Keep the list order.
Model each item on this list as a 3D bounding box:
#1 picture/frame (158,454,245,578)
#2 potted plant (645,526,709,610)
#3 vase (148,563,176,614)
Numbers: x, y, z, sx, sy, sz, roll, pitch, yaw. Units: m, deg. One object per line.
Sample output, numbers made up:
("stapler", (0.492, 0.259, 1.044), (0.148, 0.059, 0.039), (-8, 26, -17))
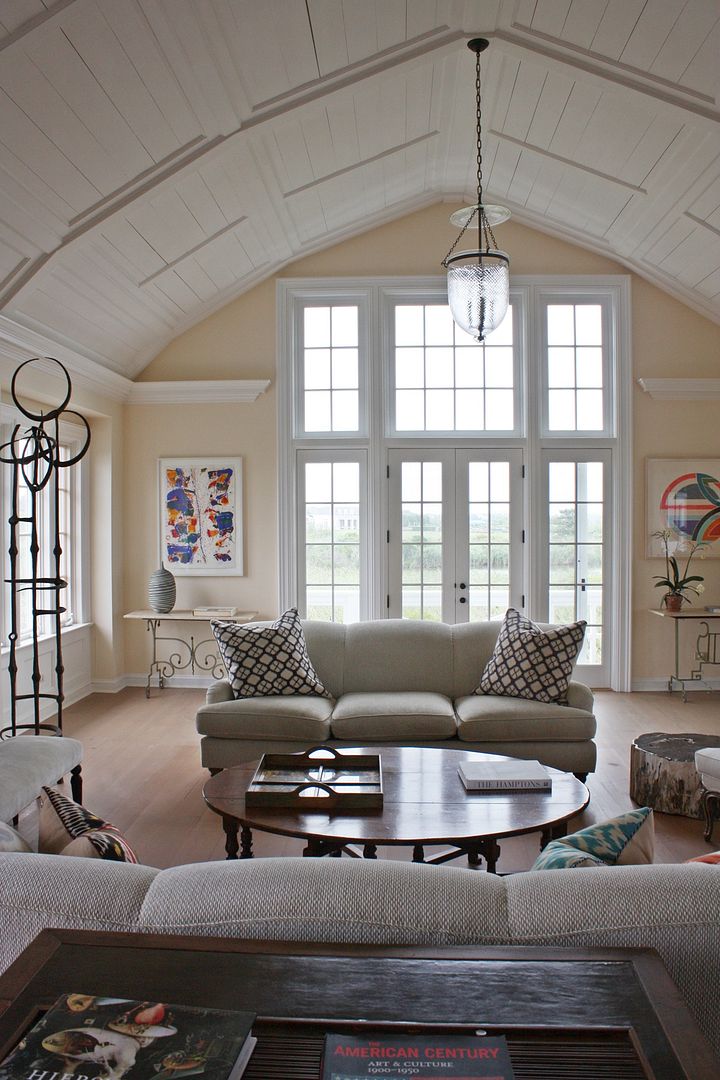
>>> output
("picture/frame", (-1.162, -0.197, 6.139), (0.927, 1.260, 0.057), (0, 3, 5))
("potted plant", (2.258, 0.197, 5.918), (0.302, 0.589, 0.508), (-1, 2, 39))
("vase", (-1.440, 0.363, 5.975), (0.185, 0.267, 0.286), (-2, 2, -12))
